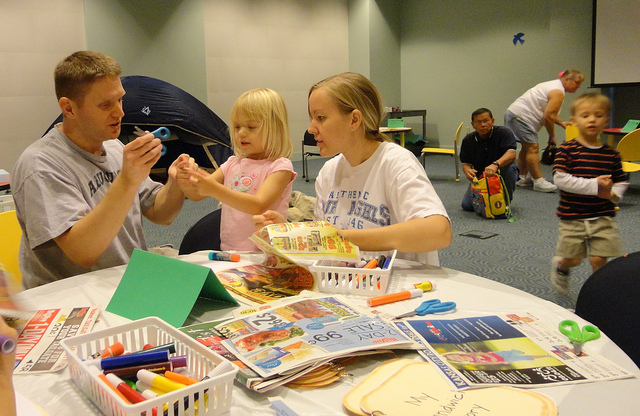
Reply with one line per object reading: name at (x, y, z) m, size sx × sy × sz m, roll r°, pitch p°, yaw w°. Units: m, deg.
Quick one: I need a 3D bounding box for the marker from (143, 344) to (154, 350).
marker at (-0.417, 0.342, 1.045) m, size 0.019 × 0.014 × 0.026 m, roll -2°, pitch -8°, yaw -30°

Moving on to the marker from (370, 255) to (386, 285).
marker at (0.198, 0.202, 1.437) m, size 0.021 × 0.025 × 0.149 m, roll 13°, pitch 35°, yaw 6°

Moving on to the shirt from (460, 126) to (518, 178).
shirt at (1.988, -0.701, 5.094) m, size 0.608 × 0.539 × 0.373 m, roll 3°, pitch 17°, yaw 22°

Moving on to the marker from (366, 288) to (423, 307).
marker at (0.230, 0.281, 1.319) m, size 0.154 × 0.022 × 0.021 m, roll -7°, pitch 43°, yaw -27°

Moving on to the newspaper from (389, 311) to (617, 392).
newspaper at (0.460, 0.357, 1.098) m, size 0.491 × 0.052 × 0.280 m, roll -5°, pitch 15°, yaw -5°

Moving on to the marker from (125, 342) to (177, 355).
marker at (-0.404, 0.342, 1.012) m, size 0.146 × 0.031 × 0.024 m, roll -13°, pitch 56°, yaw 26°

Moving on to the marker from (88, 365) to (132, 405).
marker at (-0.444, 0.382, 0.917) m, size 0.131 × 0.015 × 0.016 m, roll 38°, pitch 40°, yaw 23°

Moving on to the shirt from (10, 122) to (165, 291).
shirt at (-1.081, -0.026, 1.947) m, size 0.511 × 0.619 × 0.816 m, roll 13°, pitch 15°, yaw 6°

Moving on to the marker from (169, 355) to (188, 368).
marker at (-0.323, 0.358, 0.988) m, size 0.047 × 0.028 × 0.028 m, roll -4°, pitch 18°, yaw 11°

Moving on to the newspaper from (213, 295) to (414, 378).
newspaper at (-0.036, 0.339, 1.136) m, size 0.444 × 0.039 × 0.392 m, roll -6°, pitch 9°, yaw -21°

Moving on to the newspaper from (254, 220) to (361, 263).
newspaper at (-0.043, 0.118, 1.420) m, size 0.336 × 0.127 × 0.107 m, roll -3°, pitch 16°, yaw 0°

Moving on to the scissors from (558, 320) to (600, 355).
scissors at (0.684, 0.344, 1.128) m, size 0.093 × 0.014 × 0.099 m, roll 2°, pitch 41°, yaw 26°

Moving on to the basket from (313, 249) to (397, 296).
basket at (0.108, 0.227, 1.412) m, size 0.247 × 0.088 × 0.126 m, roll 2°, pitch 16°, yaw 19°

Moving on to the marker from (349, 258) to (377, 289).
marker at (0.140, 0.218, 1.385) m, size 0.119 × 0.025 × 0.022 m, roll -43°, pitch 40°, yaw -12°

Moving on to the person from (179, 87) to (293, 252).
person at (-0.368, -0.138, 1.942) m, size 0.487 × 0.783 × 0.845 m, roll -5°, pitch 16°, yaw -3°

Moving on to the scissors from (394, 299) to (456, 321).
scissors at (0.324, 0.284, 1.257) m, size 0.187 × 0.014 × 0.064 m, roll -6°, pitch 15°, yaw -29°

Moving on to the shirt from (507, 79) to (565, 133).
shirt at (2.957, -1.395, 5.825) m, size 0.653 × 0.661 × 0.418 m, roll -11°, pitch 17°, yaw -23°

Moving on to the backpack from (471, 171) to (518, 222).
backpack at (1.861, -0.117, 4.613) m, size 0.298 × 0.436 × 0.470 m, roll -19°, pitch 17°, yaw -16°

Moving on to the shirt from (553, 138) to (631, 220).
shirt at (1.670, -0.176, 2.660) m, size 0.394 × 0.492 × 0.295 m, roll 6°, pitch 19°, yaw 32°
